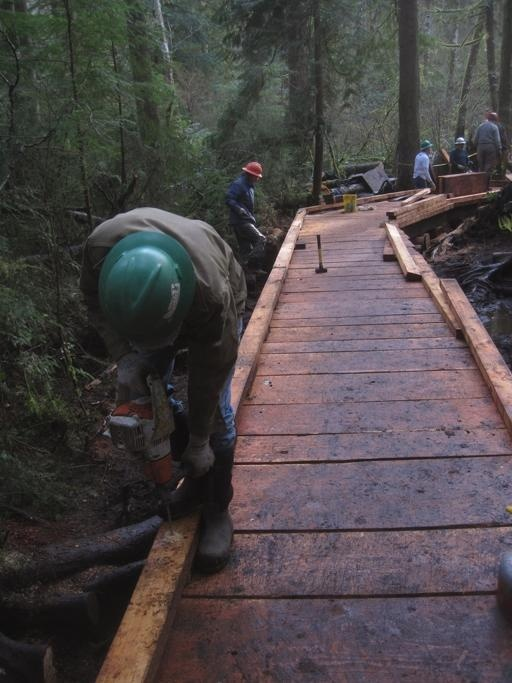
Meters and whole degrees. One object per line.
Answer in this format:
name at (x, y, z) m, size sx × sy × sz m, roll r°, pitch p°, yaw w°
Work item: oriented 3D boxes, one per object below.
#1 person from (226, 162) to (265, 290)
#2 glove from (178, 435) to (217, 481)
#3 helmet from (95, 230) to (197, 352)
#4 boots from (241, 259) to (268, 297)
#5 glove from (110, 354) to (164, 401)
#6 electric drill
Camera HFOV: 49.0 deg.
person at (-0.201, -1.934, 9.248) m, size 0.730 × 1.936 × 0.778 m, roll -5°, pitch 17°, yaw -17°
glove at (-0.186, 0.404, 2.093) m, size 0.149 × 0.141 × 0.217 m, roll 10°, pitch 16°, yaw -5°
helmet at (-0.304, -0.154, 1.639) m, size 0.291 × 0.317 × 0.277 m, roll -15°, pitch 21°, yaw -29°
boots at (0.008, -1.055, 9.422) m, size 0.534 × 0.689 × 0.254 m, roll -10°, pitch -18°, yaw 23°
glove at (-0.430, 0.131, 2.059) m, size 0.176 × 0.179 × 0.167 m, roll 3°, pitch 16°, yaw 2°
electric drill at (-0.345, 0.403, 1.986) m, size 0.274 × 0.515 × 0.173 m, roll -13°, pitch -6°, yaw 33°
